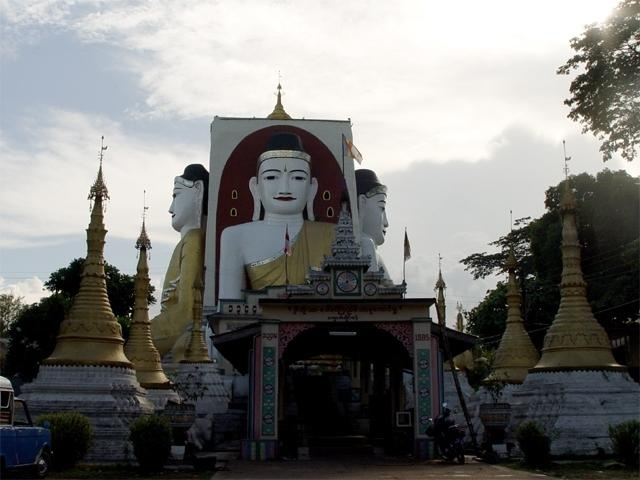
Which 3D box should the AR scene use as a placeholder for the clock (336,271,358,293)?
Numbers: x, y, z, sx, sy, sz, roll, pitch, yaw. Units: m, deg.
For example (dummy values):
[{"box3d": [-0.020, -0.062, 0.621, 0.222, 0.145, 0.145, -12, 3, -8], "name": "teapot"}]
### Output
[{"box3d": [0.839, 1.365, 42.646, 0.586, 0.636, 0.082, 9, -5, -11], "name": "clock"}]
